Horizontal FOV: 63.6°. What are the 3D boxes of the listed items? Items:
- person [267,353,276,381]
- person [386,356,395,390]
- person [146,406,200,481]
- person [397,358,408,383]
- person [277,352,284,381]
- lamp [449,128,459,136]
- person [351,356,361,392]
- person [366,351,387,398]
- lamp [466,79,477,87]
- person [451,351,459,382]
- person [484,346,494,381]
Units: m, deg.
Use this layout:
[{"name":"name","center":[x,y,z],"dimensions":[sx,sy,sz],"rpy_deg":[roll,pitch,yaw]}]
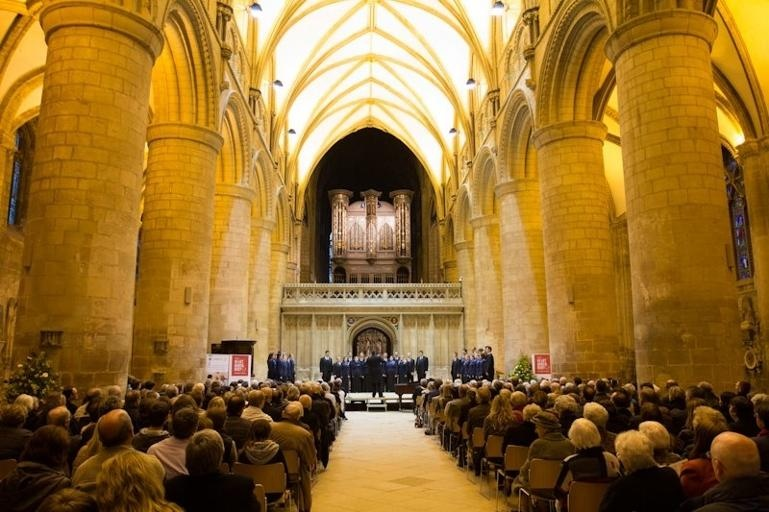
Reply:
[{"name":"person","center":[-4.406,4.310,24.485],"dimensions":[0.383,0.884,1.641],"rpy_deg":[-1,-2,-12]},{"name":"person","center":[0.265,4.832,25.671],"dimensions":[0.409,1.180,0.749],"rpy_deg":[-1,-1,-2]},{"name":"person","center":[-2.564,2.284,7.532],"dimensions":[0.715,0.761,0.449],"rpy_deg":[9,0,9]},{"name":"person","center":[0.748,4.724,25.469],"dimensions":[0.415,0.877,0.363],"rpy_deg":[-1,-1,-5]},{"name":"person","center":[-4.116,4.375,24.686],"dimensions":[0.304,0.967,1.227],"rpy_deg":[-1,-1,-10]},{"name":"lamp","center":[3.424,-6.244,30.810],"dimensions":[0.464,0.181,0.470],"rpy_deg":[-9,-5,16]},{"name":"person","center":[-1.160,4.925,25.859],"dimensions":[0.463,1.503,1.060],"rpy_deg":[-1,-1,-2]},{"name":"person","center":[-0.335,4.877,25.222],"dimensions":[0.713,1.732,1.399],"rpy_deg":[-1,-1,-1]},{"name":"lamp","center":[3.468,-6.974,24.927],"dimensions":[0.385,0.255,0.381],"rpy_deg":[1,-4,11]},{"name":"person","center":[2.961,4.646,25.619],"dimensions":[0.311,0.988,1.311],"rpy_deg":[-1,-1,7]},{"name":"person","center":[3.684,3.737,21.837],"dimensions":[0.297,1.035,0.995],"rpy_deg":[-1,-1,7]}]
